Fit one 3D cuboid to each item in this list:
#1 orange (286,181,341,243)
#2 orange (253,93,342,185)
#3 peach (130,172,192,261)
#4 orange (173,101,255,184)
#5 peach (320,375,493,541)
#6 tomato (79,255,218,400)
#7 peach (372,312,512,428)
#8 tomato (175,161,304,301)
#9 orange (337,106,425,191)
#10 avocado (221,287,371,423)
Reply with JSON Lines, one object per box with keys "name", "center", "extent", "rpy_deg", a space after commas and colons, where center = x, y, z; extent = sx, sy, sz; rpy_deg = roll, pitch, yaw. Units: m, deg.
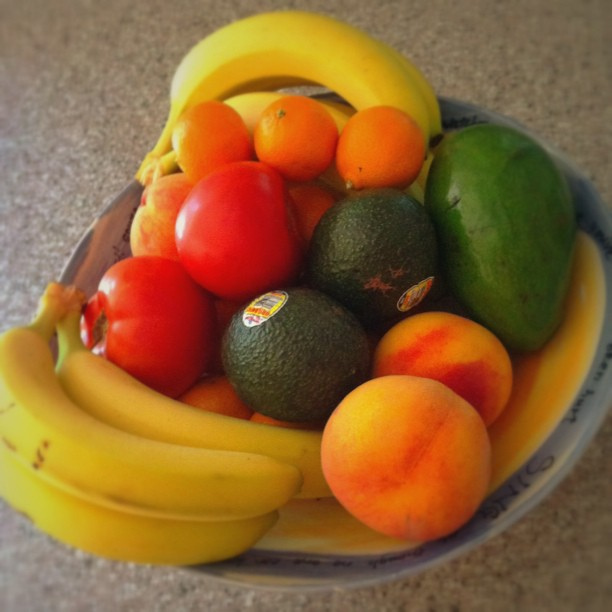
{"name": "orange", "center": [0.006, -0.110, 0.891], "extent": [0.069, 0.069, 0.082], "rpy_deg": [0, 94, 8]}
{"name": "orange", "center": [-0.012, -0.204, 0.886], "extent": [0.109, 0.111, 0.095], "rpy_deg": [-1, 102, 26]}
{"name": "peach", "center": [-0.175, -0.097, 0.920], "extent": [0.070, 0.100, 0.095], "rpy_deg": [9, 76, -15]}
{"name": "orange", "center": [-0.116, -0.202, 0.909], "extent": [0.101, 0.100, 0.116], "rpy_deg": [-6, 68, 7]}
{"name": "peach", "center": [0.098, 0.145, 0.730], "extent": [0.171, 0.143, 0.156], "rpy_deg": [1, 58, 5]}
{"name": "tomato", "center": [-0.162, 0.017, 0.914], "extent": [0.161, 0.168, 0.159], "rpy_deg": [43, 87, 1]}
{"name": "peach", "center": [0.154, 0.067, 0.847], "extent": [0.133, 0.122, 0.125], "rpy_deg": [1, 90, 3]}
{"name": "tomato", "center": [-0.077, -0.078, 0.885], "extent": [0.162, 0.177, 0.153], "rpy_deg": [0, 89, -12]}
{"name": "orange", "center": [0.086, -0.178, 0.864], "extent": [0.102, 0.090, 0.089], "rpy_deg": [4, 32, 6]}
{"name": "avocado", "center": [-0.005, 0.031, 0.829], "extent": [0.175, 0.124, 0.222], "rpy_deg": [-4, 30, -5]}
